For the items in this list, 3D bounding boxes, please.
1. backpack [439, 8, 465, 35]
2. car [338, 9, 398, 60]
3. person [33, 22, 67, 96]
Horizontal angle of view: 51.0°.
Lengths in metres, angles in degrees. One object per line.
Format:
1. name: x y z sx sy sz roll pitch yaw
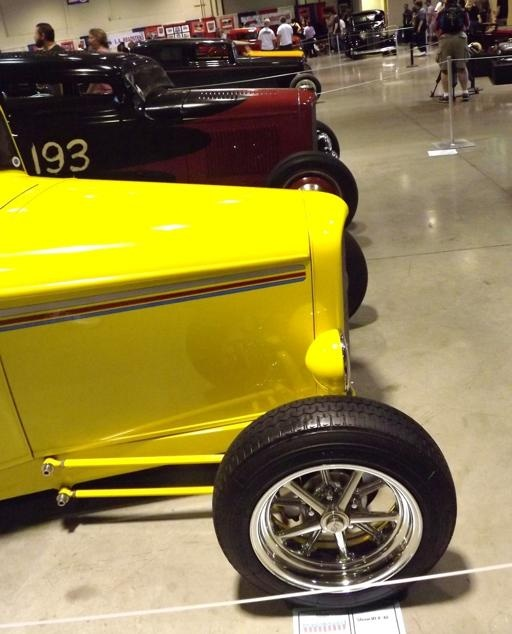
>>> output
1. backpack: 2.850 -4.317 7.910 0.337 0.415 0.455 6 12 20
2. car: 3.962 -9.419 18.347 1.550 1.155 2.564 -3 24 6
3. person: -2.208 -2.582 5.727 0.323 0.991 0.327 -14 49 -30
